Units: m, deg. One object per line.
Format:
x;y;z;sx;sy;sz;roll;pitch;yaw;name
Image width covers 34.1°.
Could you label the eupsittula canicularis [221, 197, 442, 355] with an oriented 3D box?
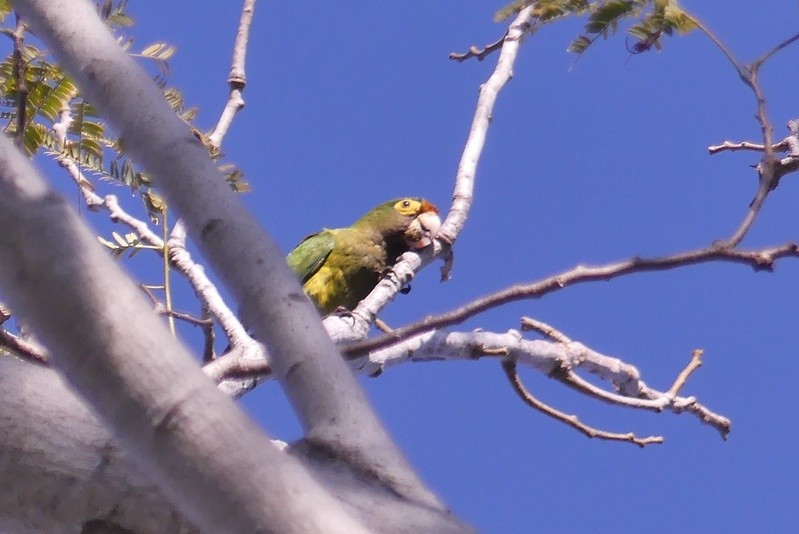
-0.450;-0.002;8.293;1.571;0.726;0.553;-13;-24;35;eupsittula canicularis
